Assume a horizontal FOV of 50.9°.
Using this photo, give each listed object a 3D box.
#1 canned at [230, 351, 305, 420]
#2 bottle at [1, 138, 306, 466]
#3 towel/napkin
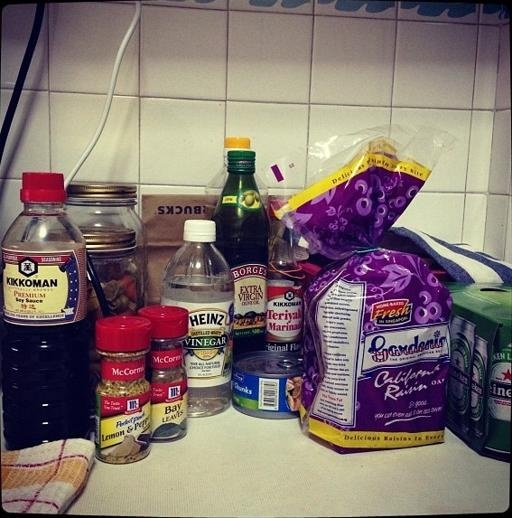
[{"bbox_3d":[0.019,0.197,0.864,0.107,0.077,0.119,3,14,3],"label":"canned"},{"bbox_3d":[-0.105,0.011,0.897,0.381,0.417,0.387,-3,15,-18],"label":"bottle"},{"bbox_3d":[-0.259,0.261,0.638,0.112,0.032,0.119,1,14,-3],"label":"towel/napkin"}]
